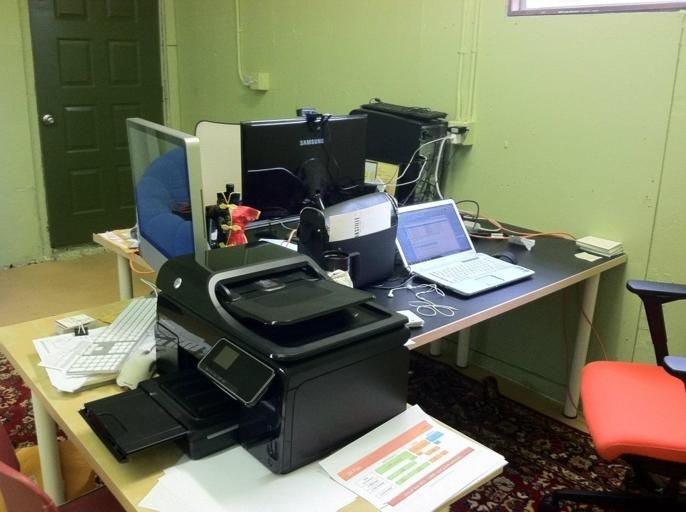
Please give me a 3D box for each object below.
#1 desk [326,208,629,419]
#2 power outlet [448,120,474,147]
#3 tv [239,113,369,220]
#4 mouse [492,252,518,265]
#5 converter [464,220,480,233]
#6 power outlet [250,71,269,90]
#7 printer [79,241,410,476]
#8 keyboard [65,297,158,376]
[{"bbox_3d":[0.542,0.409,2.610,1.105,0.646,1.088,-17,28,-39],"label":"desk"},{"bbox_3d":[0.619,-0.667,3.004,0.164,0.133,0.121,-11,25,-20],"label":"power outlet"},{"bbox_3d":[-0.141,-0.409,2.385,0.172,0.437,0.645,17,29,36],"label":"tv"},{"bbox_3d":[0.702,0.007,2.358,0.050,0.025,0.071,-12,26,-29],"label":"mouse"},{"bbox_3d":[0.640,-0.139,2.709,0.047,0.022,0.069,-16,23,-35],"label":"converter"},{"bbox_3d":[-0.617,-1.299,4.098,0.189,0.141,0.055,11,27,28],"label":"power outlet"},{"bbox_3d":[-0.199,0.274,1.500,0.749,0.439,0.540,-20,34,-37],"label":"printer"},{"bbox_3d":[-0.720,0.264,1.833,0.164,0.047,0.454,-10,24,9],"label":"keyboard"}]
